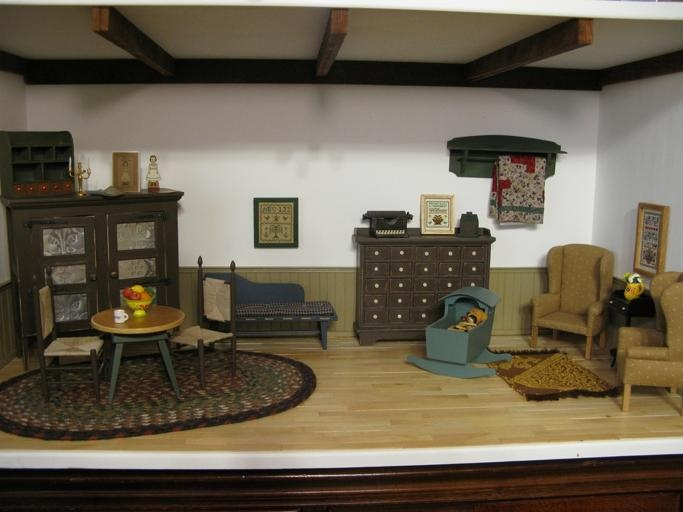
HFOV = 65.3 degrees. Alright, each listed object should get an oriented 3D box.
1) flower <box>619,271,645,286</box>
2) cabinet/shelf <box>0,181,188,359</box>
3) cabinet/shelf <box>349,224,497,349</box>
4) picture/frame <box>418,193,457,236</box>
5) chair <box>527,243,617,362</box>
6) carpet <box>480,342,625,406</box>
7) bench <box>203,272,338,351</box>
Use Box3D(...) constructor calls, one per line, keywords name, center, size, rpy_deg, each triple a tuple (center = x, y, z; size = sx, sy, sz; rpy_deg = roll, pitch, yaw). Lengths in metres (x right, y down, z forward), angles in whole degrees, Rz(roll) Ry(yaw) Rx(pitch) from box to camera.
Box3D(name="flower", center=(3.533, 0.286, 6.503), size=(0.225, 0.061, 0.220), rpy_deg=(6, 19, 21))
Box3D(name="cabinet/shelf", center=(-2.930, 0.157, 6.128), size=(2.728, 1.958, 0.947), rpy_deg=(-3, 5, -28))
Box3D(name="cabinet/shelf", center=(1.063, 0.394, 6.982), size=(2.193, 1.418, 0.665), rpy_deg=(0, 4, -3))
Box3D(name="picture/frame", center=(1.305, -0.587, 7.353), size=(0.798, 0.698, 0.059), rpy_deg=(0, -2, -6))
Box3D(name="chair", center=(3.107, 0.536, 7.110), size=(0.823, 1.176, 0.960), rpy_deg=(-17, 16, -36))
Box3D(name="carpet", center=(2.457, 1.374, 6.358), size=(0.928, 1.219, 0.060), rpy_deg=(-24, 37, 38))
Box3D(name="bench", center=(-0.988, 0.708, 6.956), size=(1.410, 0.616, 0.399), rpy_deg=(0, 3, -5))
